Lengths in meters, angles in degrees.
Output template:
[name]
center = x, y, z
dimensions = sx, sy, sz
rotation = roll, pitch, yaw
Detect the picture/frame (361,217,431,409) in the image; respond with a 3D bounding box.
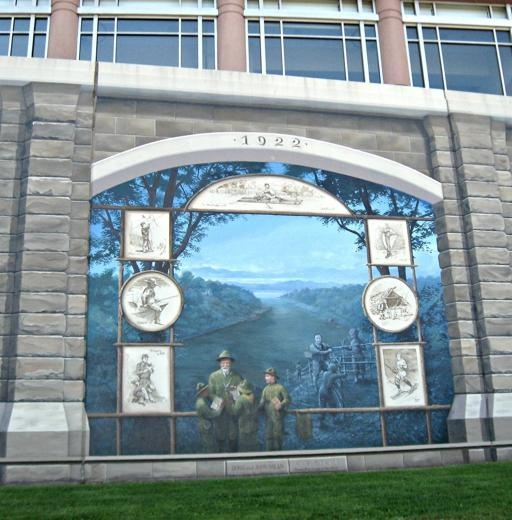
[picture/frame]
center = 3.082, 1.115, 14.789
dimensions = 1.301, 4.264, 0.740
rotation = -1, -7, 0

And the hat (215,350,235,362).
[hat]
center = -0.712, 2.165, 14.964
dimensions = 0.386, 0.144, 0.320
rotation = 0, -11, -3
